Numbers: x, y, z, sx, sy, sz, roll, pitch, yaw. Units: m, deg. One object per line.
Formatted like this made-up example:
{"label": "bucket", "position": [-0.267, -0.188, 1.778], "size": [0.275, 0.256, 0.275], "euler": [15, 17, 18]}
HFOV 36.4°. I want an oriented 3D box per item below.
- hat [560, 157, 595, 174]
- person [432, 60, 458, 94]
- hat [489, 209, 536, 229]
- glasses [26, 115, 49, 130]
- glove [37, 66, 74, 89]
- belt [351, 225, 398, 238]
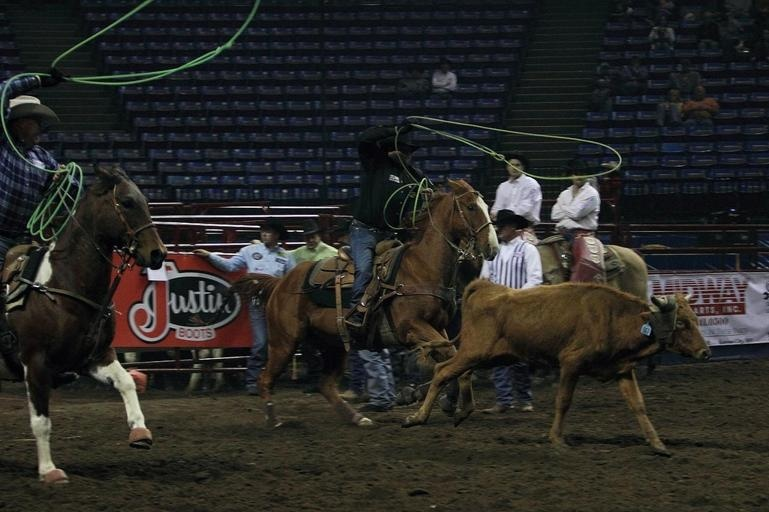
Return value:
{"label": "hat", "position": [3.437, -1.592, 20.871], "size": [0.424, 0.318, 0.575], "euler": [1, 1, 0]}
{"label": "person", "position": [1.642, -4.944, 32.537], "size": [0.732, 0.845, 0.488], "euler": [1, 2, 2]}
{"label": "hat", "position": [2.233, -0.636, 19.932], "size": [0.574, 0.115, 0.450], "euler": [9, -13, -33]}
{"label": "glasses", "position": [-5.231, -2.046, 17.779], "size": [0.318, 0.130, 0.194], "euler": [16, -10, 18]}
{"label": "glove", "position": [-4.903, -2.700, 17.459], "size": [0.385, 0.293, 0.482], "euler": [0, 1, -22]}
{"label": "belt", "position": [-0.227, -0.433, 19.442], "size": [0.551, 0.080, 0.298], "euler": [8, 2, 7]}
